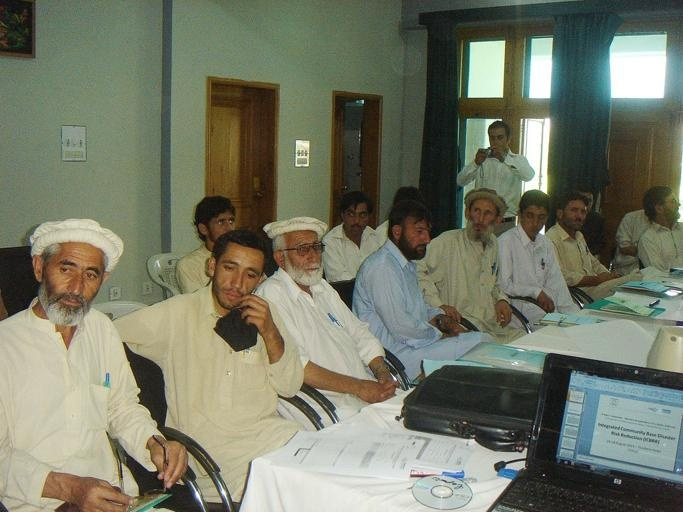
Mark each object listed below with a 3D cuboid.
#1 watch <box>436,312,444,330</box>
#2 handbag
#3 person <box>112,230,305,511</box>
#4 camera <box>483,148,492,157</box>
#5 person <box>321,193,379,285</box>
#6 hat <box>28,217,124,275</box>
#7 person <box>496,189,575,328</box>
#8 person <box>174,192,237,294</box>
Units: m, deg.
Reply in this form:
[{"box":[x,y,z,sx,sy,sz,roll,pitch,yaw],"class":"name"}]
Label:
[{"box":[0.608,0.407,3.729,0.055,0.078,0.029,2,1,-23],"class":"watch"},{"box":[0.444,0.505,2.059,0.315,0.076,0.304,3,19,24],"class":"handbag"},{"box":[-0.517,0.431,2.526,0.647,1.108,0.650,-7,17,-37],"class":"person"},{"box":[1.785,-1.268,7.303,0.087,0.105,0.259,2,10,13],"class":"camera"},{"box":[0.068,-0.146,5.156,0.457,0.773,0.420,1,15,-4],"class":"person"},{"box":[-0.958,-0.067,2.169,0.180,0.192,0.344,9,14,38],"class":"hat"},{"box":[1.430,0.038,4.576,0.531,1.130,0.513,6,14,24],"class":"person"},{"box":[-0.978,-0.102,4.317,0.390,0.927,0.425,6,13,13],"class":"person"}]
